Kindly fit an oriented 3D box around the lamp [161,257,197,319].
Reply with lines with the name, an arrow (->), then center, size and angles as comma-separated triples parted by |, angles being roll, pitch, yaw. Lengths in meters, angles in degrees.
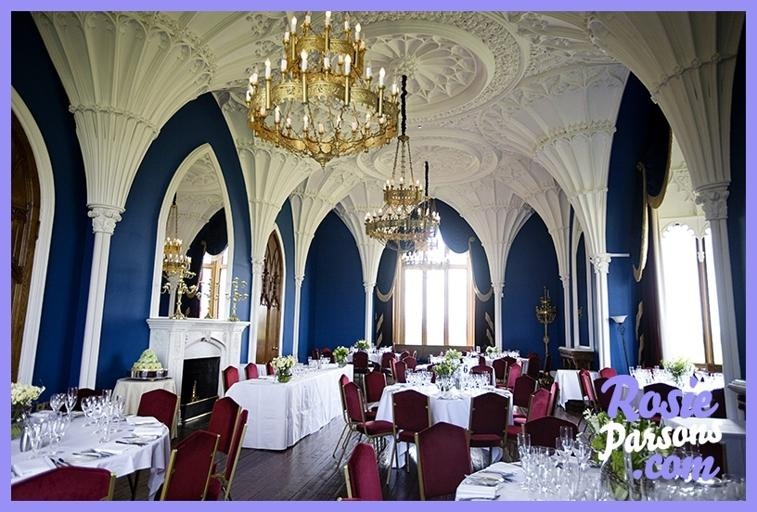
lamp -> -6.446, 0.969, 15.910 | 1.096, 1.821, 1.131 | -7, -11, 42
